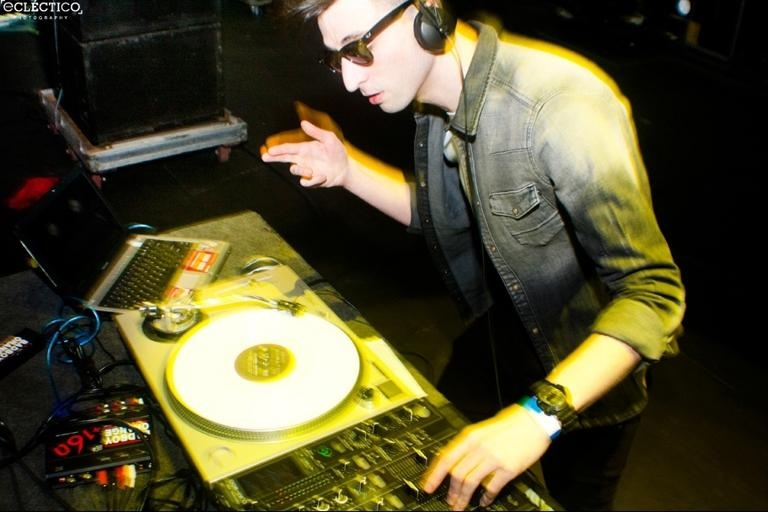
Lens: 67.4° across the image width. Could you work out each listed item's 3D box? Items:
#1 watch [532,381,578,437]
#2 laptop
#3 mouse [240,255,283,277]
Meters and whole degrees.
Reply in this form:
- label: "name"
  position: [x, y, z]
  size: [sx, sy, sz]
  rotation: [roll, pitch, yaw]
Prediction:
- label: "watch"
  position: [0.390, 0.352, 1.316]
  size: [0.089, 0.043, 0.117]
  rotation: [-33, 64, 7]
- label: "laptop"
  position: [-0.764, -0.038, 1.765]
  size: [0.530, 0.258, 0.379]
  rotation: [7, 36, -5]
- label: "mouse"
  position: [-0.390, 0.029, 1.782]
  size: [0.082, 0.028, 0.070]
  rotation: [-4, 24, -4]
